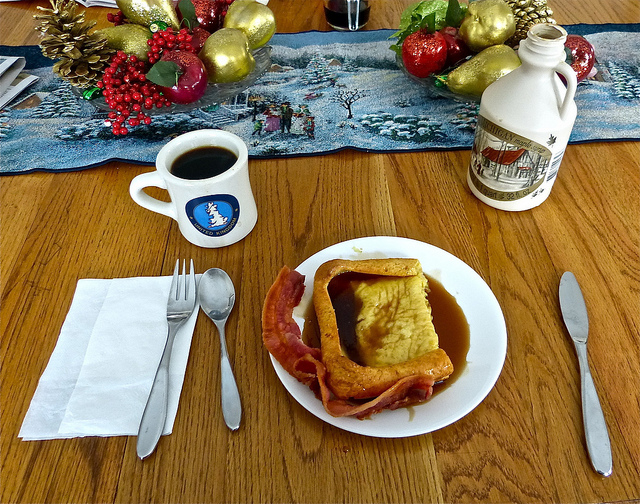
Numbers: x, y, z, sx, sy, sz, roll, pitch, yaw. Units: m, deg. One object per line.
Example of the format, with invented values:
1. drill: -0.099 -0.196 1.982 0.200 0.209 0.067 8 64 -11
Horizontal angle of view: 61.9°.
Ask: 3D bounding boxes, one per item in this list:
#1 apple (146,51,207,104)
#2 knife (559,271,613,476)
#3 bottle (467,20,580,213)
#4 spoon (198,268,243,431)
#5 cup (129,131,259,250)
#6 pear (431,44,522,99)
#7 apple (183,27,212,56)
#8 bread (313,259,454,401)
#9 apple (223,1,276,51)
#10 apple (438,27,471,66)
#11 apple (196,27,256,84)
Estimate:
1. apple: -0.307 -0.374 1.158 0.112 0.113 0.090 -7 92 -12
2. knife: 0.430 0.184 0.876 0.041 0.016 0.344 -4 45 16
3. bottle: 0.397 -0.261 1.028 0.170 0.315 0.171 -1 45 1
4. spoon: -0.167 0.141 0.947 0.061 0.036 0.327 -3 53 -11
5. cup: -0.246 -0.115 1.034 0.224 0.169 0.156 -17 52 -11
6. pear: 0.354 -0.399 1.195 0.191 0.113 0.095 -7 88 28
7. apple: -0.290 -0.503 1.256 0.056 0.045 0.067 3 51 -3
8. bread: 0.096 0.116 0.884 0.199 0.058 0.236 -7 57 -4
9. apple: -0.175 -0.548 1.356 0.118 0.121 0.119 15 52 0
10. apple: 0.317 -0.478 1.245 0.069 0.065 0.073 7 94 28
11. apple: -0.220 -0.445 1.263 0.127 0.121 0.162 -1 84 -17
